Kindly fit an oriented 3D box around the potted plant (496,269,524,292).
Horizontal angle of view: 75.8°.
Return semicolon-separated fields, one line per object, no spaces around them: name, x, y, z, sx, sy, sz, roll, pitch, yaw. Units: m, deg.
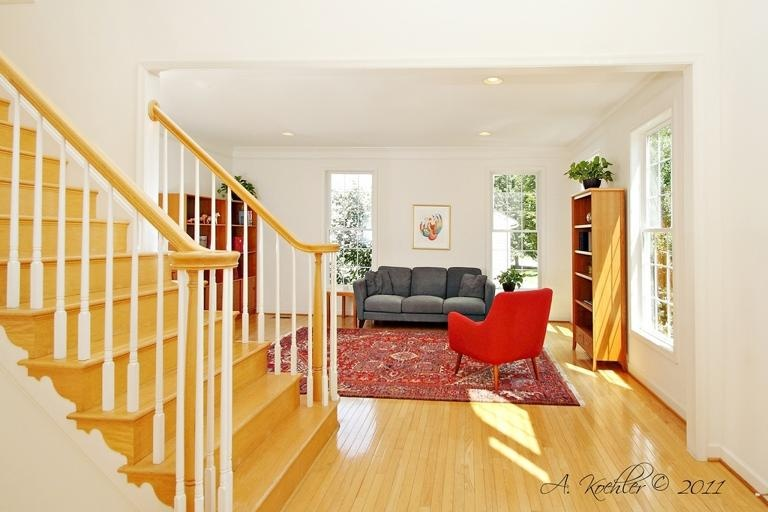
potted plant;2.021;0.394;7.917;0.459;0.412;0.466;0;-7;5

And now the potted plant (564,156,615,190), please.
potted plant;2.639;-1.013;6.248;0.578;0.369;0.480;-1;-1;-40

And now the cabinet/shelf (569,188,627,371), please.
cabinet/shelf;2.637;0.228;6.041;0.449;2.113;0.937;0;9;4

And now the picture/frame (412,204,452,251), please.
picture/frame;0.855;-0.516;8.537;0.805;0.907;0.032;0;-2;1
